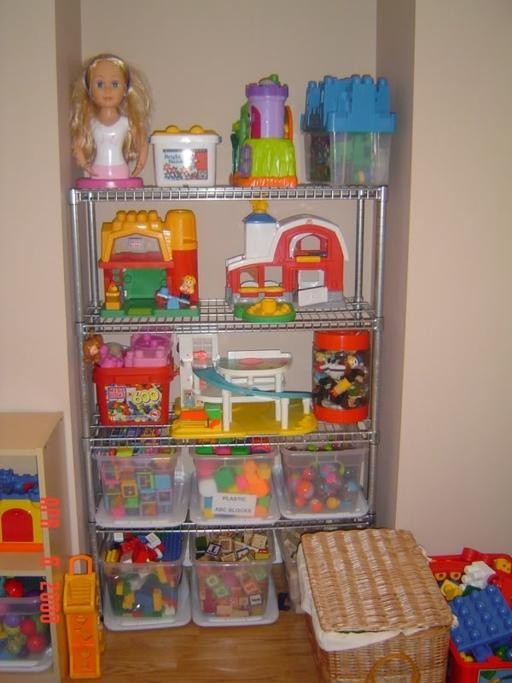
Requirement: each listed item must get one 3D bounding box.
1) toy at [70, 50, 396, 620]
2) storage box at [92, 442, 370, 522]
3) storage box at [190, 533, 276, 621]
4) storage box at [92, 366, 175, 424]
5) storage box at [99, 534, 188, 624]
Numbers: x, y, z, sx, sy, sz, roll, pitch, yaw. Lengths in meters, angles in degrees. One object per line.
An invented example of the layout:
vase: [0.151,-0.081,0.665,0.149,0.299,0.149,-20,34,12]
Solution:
toy: [-0.087,0.039,1.989,0.985,1.765,0.522,-1,15,0]
storage box: [-0.056,0.452,2.031,0.753,0.187,0.300,0,11,-3]
storage box: [-0.080,0.773,2.111,0.265,0.200,0.271,-1,6,-2]
storage box: [-0.366,0.162,1.916,0.274,0.182,0.168,0,18,-3]
storage box: [-0.366,0.763,1.979,0.240,0.195,0.277,1,-6,-3]
